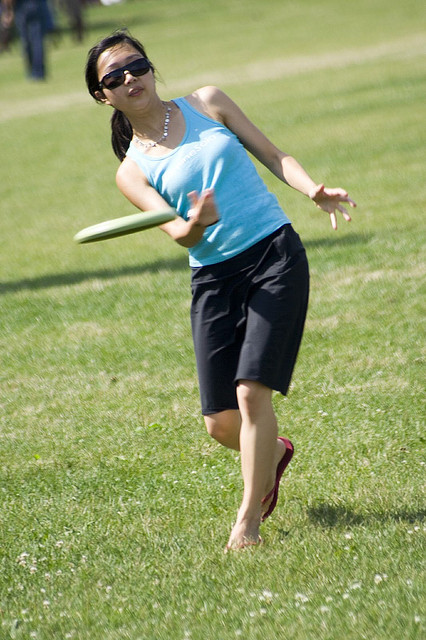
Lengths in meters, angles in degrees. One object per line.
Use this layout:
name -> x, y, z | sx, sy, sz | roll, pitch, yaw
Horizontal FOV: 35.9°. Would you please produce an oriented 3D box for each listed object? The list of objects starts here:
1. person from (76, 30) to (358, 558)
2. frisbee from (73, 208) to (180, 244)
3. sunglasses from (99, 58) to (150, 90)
person -> 0.098, -0.175, 2.465 | 0.814, 1.695, 0.556 | -12, 4, -3
frisbee -> -0.317, -0.335, 2.305 | 0.175, 0.096, 0.536 | -12, 5, -36
sunglasses -> -0.333, -0.918, 2.455 | 0.199, 0.104, 0.096 | -10, 4, -2
